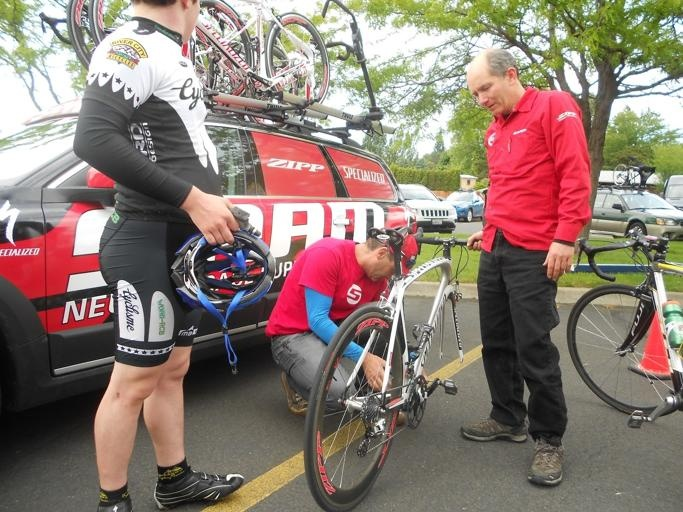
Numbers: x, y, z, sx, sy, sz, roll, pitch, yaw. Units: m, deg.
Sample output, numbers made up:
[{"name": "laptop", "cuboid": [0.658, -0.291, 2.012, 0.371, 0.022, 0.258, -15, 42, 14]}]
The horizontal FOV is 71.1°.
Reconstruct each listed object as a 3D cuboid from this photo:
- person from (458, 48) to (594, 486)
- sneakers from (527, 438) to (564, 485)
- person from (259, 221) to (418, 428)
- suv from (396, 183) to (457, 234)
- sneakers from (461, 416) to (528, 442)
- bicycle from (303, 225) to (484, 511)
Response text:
[{"name": "person", "cuboid": [1.176, 0.020, 3.034, 0.460, 2.599, 0.875, -6, 13, -31]}, {"name": "sneakers", "cuboid": [1.306, 1.264, 2.991, 0.162, 0.189, 0.446, -7, -1, 39]}, {"name": "person", "cuboid": [0.065, 0.397, 3.238, 1.060, 1.354, 0.900, 15, 6, 0]}, {"name": "suv", "cuboid": [3.070, -1.810, 17.222, 1.756, 1.559, 3.707, 0, 5, -12]}, {"name": "sneakers", "cuboid": [1.078, 1.222, 3.437, 0.478, 0.204, 0.176, 4, -7, 6]}, {"name": "bicycle", "cuboid": [0.338, 0.719, 3.037, 0.841, 0.974, 1.746, 1, 9, 27]}]
